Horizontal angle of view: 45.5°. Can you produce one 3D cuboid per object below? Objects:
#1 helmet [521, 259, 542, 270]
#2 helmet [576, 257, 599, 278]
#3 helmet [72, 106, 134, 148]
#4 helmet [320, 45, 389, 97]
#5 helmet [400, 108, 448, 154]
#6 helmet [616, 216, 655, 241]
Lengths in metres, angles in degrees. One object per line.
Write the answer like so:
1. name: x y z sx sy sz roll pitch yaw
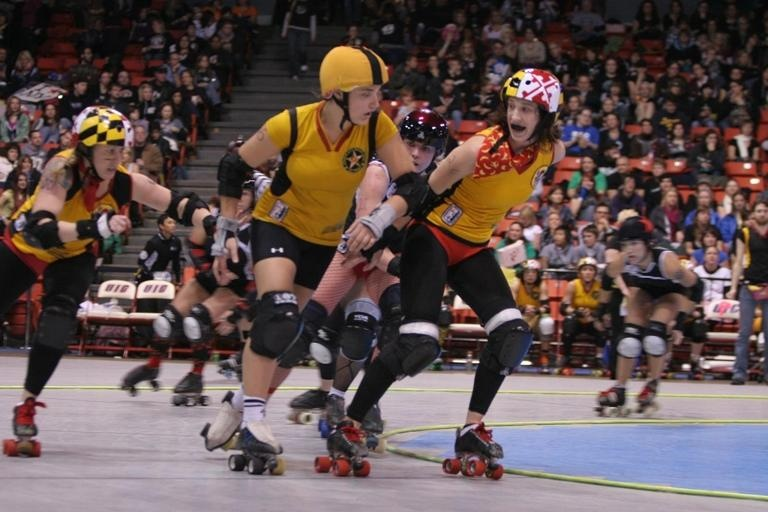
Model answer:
1. helmet: 2.184 0.111 13.403 0.234 0.104 0.154 9 -5 -14
2. helmet: 3.015 0.148 13.489 0.270 0.309 0.311 6 29 9
3. helmet: -2.244 -1.014 7.147 0.451 0.319 0.312 4 13 19
4. helmet: -0.210 -1.375 6.749 0.474 0.288 0.385 2 13 8
5. helmet: 0.363 -1.125 7.986 0.355 0.352 0.413 9 -10 28
6. helmet: 2.598 -0.286 9.482 0.225 0.177 0.358 8 3 33
